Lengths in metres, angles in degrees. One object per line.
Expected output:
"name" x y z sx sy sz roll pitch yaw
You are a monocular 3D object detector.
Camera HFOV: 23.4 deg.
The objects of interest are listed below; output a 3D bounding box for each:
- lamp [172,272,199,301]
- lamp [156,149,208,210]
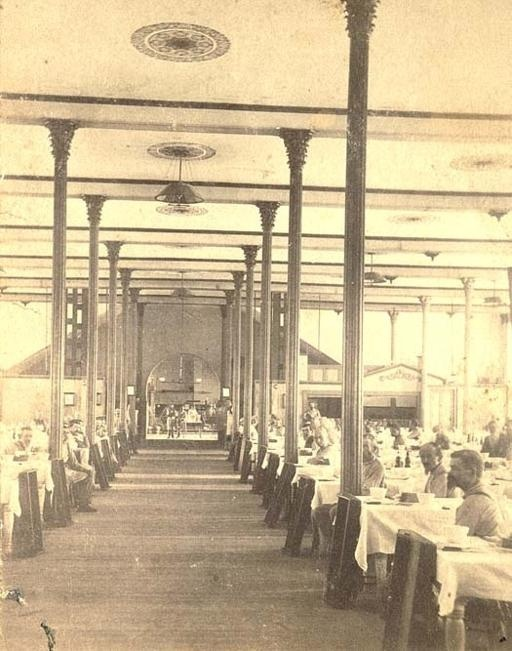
"lamp" -1.524 -0.787 26.913 0.512 0.796 0.605 1 2 3
"lamp" -0.795 -1.567 13.077 0.419 0.581 0.485 1 -3 -5
